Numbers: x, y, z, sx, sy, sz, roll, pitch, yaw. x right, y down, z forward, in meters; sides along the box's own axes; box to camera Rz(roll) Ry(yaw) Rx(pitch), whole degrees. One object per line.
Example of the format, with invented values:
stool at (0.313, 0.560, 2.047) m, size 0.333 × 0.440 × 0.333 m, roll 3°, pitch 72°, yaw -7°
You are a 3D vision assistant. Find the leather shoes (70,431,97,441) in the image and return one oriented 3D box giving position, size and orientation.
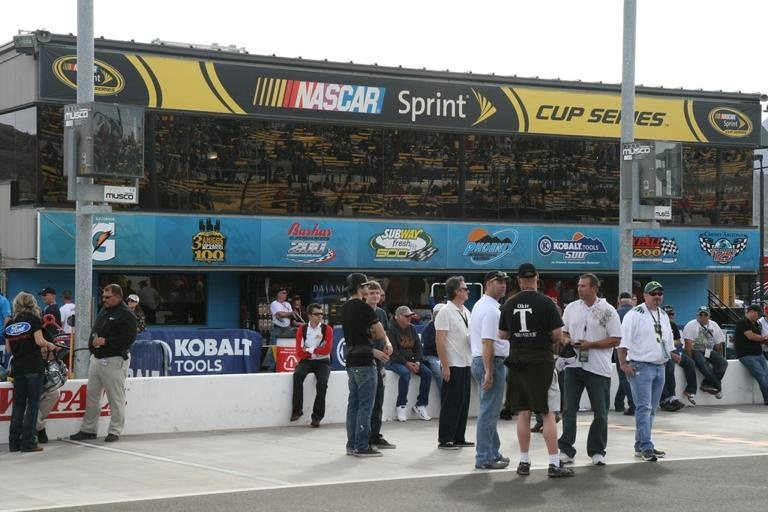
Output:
leather shoes at (-5.435, 3.263, 19.639) m, size 0.466 × 0.183 × 0.164 m, roll 10°, pitch -11°, yaw -14°

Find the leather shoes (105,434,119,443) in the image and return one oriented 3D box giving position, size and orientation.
leather shoes at (-4.927, 3.282, 19.574) m, size 0.250 × 0.151 × 0.209 m, roll -2°, pitch 8°, yaw -13°

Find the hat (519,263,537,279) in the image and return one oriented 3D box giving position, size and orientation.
hat at (2.328, 0.237, 17.570) m, size 0.216 × 0.151 × 0.303 m, roll 0°, pitch 7°, yaw 7°

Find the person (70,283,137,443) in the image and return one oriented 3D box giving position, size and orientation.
person at (-5.014, 1.953, 19.656) m, size 0.721 × 2.751 × 0.916 m, roll 5°, pitch 9°, yaw 27°

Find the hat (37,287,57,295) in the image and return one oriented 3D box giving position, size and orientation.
hat at (-8.148, 0.866, 26.182) m, size 0.357 × 0.160 × 0.226 m, roll 6°, pitch -8°, yaw -14°

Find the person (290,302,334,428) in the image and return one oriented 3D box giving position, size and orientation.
person at (-1.436, 2.163, 21.460) m, size 0.729 × 2.315 × 0.770 m, roll 2°, pitch 8°, yaw 10°

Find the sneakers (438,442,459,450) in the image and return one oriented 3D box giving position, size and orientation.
sneakers at (1.133, 3.326, 18.994) m, size 0.341 × 0.133 × 0.123 m, roll -1°, pitch 0°, yaw 12°

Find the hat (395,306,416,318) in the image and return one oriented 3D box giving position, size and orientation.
hat at (0.393, 1.134, 21.836) m, size 0.310 × 0.154 × 0.220 m, roll -4°, pitch 4°, yaw 2°

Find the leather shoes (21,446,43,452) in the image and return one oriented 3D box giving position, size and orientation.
leather shoes at (-6.074, 3.329, 18.733) m, size 0.331 × 0.135 × 0.115 m, roll -1°, pitch 0°, yaw -12°

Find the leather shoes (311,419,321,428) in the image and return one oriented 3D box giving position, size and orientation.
leather shoes at (-1.344, 3.284, 21.340) m, size 0.194 × 0.170 × 0.110 m, roll 0°, pitch 4°, yaw 8°

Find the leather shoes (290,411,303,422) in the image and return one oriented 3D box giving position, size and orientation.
leather shoes at (-1.730, 3.190, 21.471) m, size 0.276 × 0.178 × 0.122 m, roll -7°, pitch 1°, yaw -27°

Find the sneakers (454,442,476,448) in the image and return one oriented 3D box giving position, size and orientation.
sneakers at (1.432, 3.334, 19.176) m, size 0.356 × 0.127 × 0.115 m, roll -1°, pitch 1°, yaw -26°

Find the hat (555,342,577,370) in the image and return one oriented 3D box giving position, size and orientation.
hat at (3.018, 1.695, 18.050) m, size 0.301 × 0.449 × 0.287 m, roll 24°, pitch 6°, yaw 16°

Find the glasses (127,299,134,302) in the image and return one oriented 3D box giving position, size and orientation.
glasses at (-5.605, 0.983, 23.983) m, size 0.125 × 0.044 × 0.129 m, roll 1°, pitch -3°, yaw 2°

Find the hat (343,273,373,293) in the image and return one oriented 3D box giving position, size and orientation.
hat at (-0.405, 0.468, 18.836) m, size 0.376 × 0.264 × 0.542 m, roll -4°, pitch 12°, yaw 41°

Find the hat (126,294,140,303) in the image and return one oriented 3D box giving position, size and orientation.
hat at (-5.927, 1.012, 25.481) m, size 0.254 × 0.131 × 0.351 m, roll 8°, pitch -20°, yaw 15°
